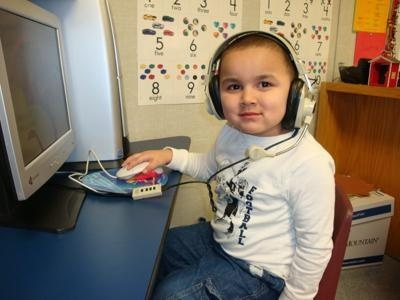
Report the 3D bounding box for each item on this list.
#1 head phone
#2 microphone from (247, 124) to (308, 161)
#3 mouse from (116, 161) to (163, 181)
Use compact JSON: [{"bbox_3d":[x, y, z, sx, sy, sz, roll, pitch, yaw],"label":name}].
[{"bbox_3d":[0.184,-0.209,0.958,0.336,0.304,0.123,8,20,24],"label":"head phone"},{"bbox_3d":[0.221,-0.005,0.889,0.168,0.044,0.093,-36,14,-1],"label":"microphone"},{"bbox_3d":[-0.224,0.065,1.092,0.086,0.025,0.055,-22,11,-24],"label":"mouse"}]
